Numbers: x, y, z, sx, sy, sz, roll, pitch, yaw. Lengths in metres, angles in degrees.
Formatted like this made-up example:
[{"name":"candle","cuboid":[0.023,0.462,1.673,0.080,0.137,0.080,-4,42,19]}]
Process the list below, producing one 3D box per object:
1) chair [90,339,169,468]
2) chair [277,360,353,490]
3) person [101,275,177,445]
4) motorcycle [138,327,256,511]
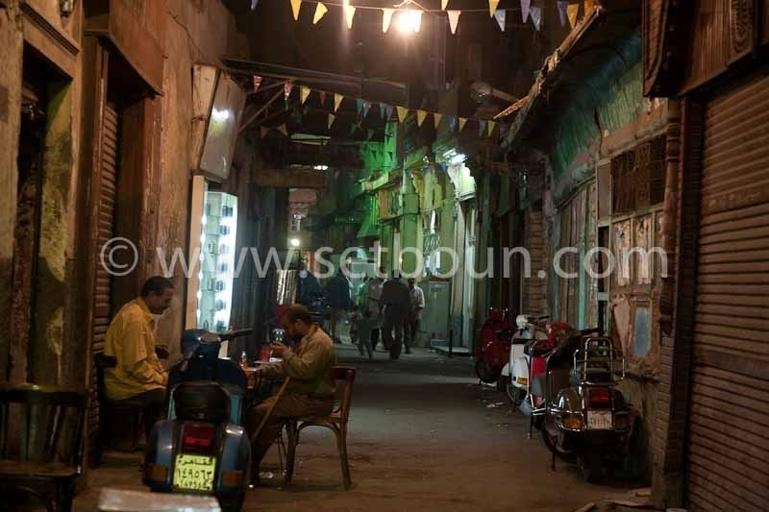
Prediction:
[{"name":"chair","cuboid":[-2.905,1.643,8.461,0.742,1.316,0.896,-8,-9,5]},{"name":"chair","cuboid":[-0.761,1.947,8.097,0.975,1.291,1.071,-2,-12,22]},{"name":"person","cuboid":[-2.873,1.229,8.519,0.974,1.928,0.871,4,16,-27]},{"name":"motorcycle","cuboid":[-1.659,1.511,6.663,0.930,1.594,0.971,0,-8,8]}]
